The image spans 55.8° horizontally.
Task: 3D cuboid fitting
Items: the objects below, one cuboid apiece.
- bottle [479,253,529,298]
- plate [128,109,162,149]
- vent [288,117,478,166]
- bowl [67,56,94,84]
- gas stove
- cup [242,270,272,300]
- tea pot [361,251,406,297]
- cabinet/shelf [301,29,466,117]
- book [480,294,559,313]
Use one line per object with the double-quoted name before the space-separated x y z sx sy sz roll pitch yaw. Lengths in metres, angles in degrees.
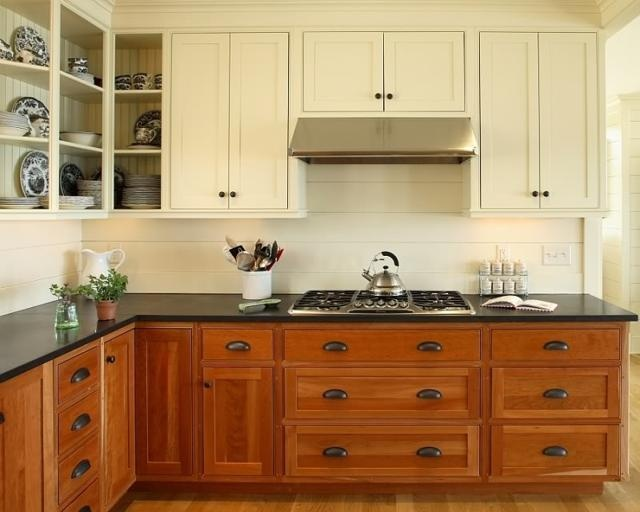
"bottle" 1.154 0.140 3.812 0.280 0.217 0.107 0 4 9
"plate" -1.082 -0.804 3.781 0.185 0.271 0.218 -1 4 -11
"vent" 0.370 -0.695 3.481 1.025 0.252 0.289 0 3 5
"bowl" -1.351 -1.053 3.419 0.191 0.124 0.144 -3 9 -22
"gas stove" 0.374 0.259 3.557 1.014 0.102 0.601 0 3 5
"cup" -0.370 0.178 3.776 0.229 0.132 0.198 0 0 -3
"tea pot" 0.389 0.118 3.687 0.401 0.226 0.250 1 1 -2
"cabinet/shelf" 0.252 -1.130 3.728 1.320 0.460 0.426 -14 25 -35
"book" 1.148 0.270 3.466 0.404 0.063 0.239 1 3 26
